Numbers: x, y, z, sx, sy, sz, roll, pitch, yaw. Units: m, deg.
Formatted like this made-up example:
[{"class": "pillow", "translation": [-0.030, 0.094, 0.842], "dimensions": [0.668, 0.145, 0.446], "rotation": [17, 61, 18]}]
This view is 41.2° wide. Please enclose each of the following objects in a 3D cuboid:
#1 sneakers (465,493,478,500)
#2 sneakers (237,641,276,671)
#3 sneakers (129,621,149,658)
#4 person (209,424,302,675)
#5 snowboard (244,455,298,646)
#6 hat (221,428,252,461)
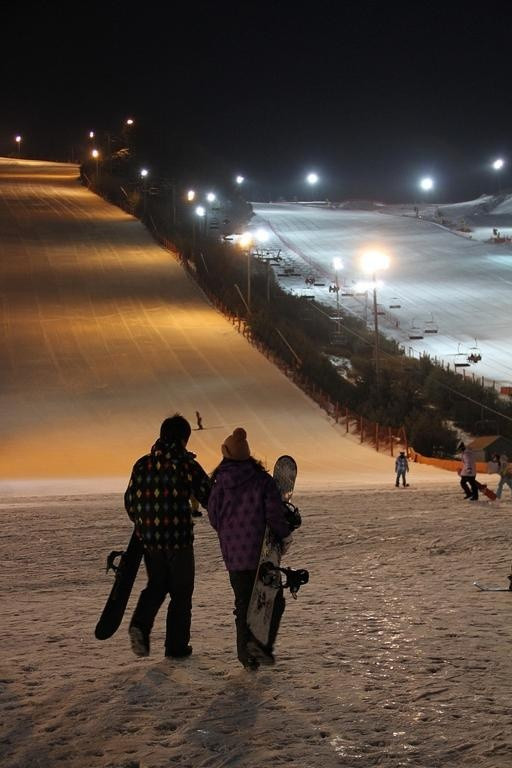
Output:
[{"class": "sneakers", "translation": [4.622, 2.490, 14.628], "dimensions": [0.205, 0.101, 0.298], "rotation": [3, -24, 4]}, {"class": "sneakers", "translation": [-0.017, 1.666, 4.134], "dimensions": [0.233, 0.126, 0.147], "rotation": [13, -2, 12]}, {"class": "sneakers", "translation": [-0.717, 1.613, 4.214], "dimensions": [0.119, 0.253, 0.161], "rotation": [1, 4, -6]}, {"class": "person", "translation": [0.004, 0.906, 4.303], "dimensions": [0.436, 1.707, 0.257], "rotation": [-13, -14, 31]}, {"class": "snowboard", "translation": [0.090, 0.940, 4.217], "dimensions": [0.292, 1.308, 0.191], "rotation": [4, -1, 15]}, {"class": "hat", "translation": [-0.121, 0.387, 4.350], "dimensions": [0.160, 0.190, 0.215], "rotation": [4, 19, -8]}]
